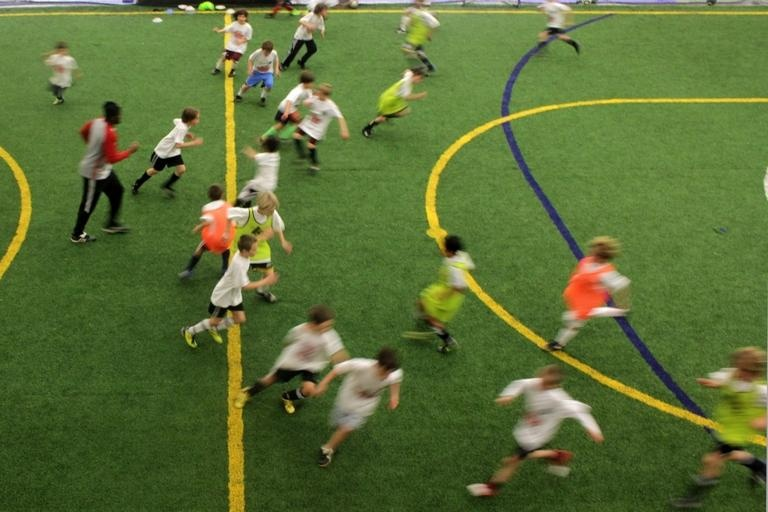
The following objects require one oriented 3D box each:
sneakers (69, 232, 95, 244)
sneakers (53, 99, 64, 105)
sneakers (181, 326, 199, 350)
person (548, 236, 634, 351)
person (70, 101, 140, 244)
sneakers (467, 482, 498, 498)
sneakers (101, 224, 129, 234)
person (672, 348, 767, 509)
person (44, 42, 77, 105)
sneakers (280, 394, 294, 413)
[{"bbox_3d":[-5.353,-0.304,12.846,0.444,0.181,0.159,-6,71,-17],"label":"sneakers"},{"bbox_3d":[-6.947,-3.261,15.412,0.243,0.154,0.067,2,78,-8],"label":"sneakers"},{"bbox_3d":[-3.171,1.335,11.711,0.204,0.399,0.183,-4,29,37],"label":"sneakers"},{"bbox_3d":[3.422,0.680,11.944,1.669,1.931,1.034,-16,26,-18],"label":"person"},{"bbox_3d":[-4.892,-1.410,12.462,1.121,2.534,0.748,-6,37,-24],"label":"person"},{"bbox_3d":[1.449,3.461,10.716,0.374,0.097,0.197,3,46,5],"label":"sneakers"},{"bbox_3d":[-4.840,-0.474,13.039,0.506,0.202,0.154,0,8,-12],"label":"sneakers"},{"bbox_3d":[5.191,2.583,10.635,1.135,2.408,1.114,11,33,1],"label":"person"},{"bbox_3d":[-6.883,-3.869,15.339,0.552,1.212,0.674,13,33,4],"label":"person"},{"bbox_3d":[-1.478,2.315,11.266,0.164,0.209,0.288,-25,86,-31],"label":"sneakers"}]
